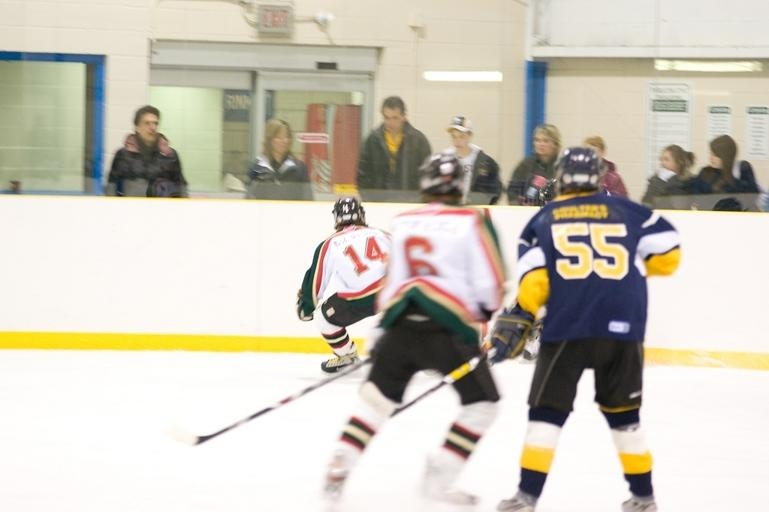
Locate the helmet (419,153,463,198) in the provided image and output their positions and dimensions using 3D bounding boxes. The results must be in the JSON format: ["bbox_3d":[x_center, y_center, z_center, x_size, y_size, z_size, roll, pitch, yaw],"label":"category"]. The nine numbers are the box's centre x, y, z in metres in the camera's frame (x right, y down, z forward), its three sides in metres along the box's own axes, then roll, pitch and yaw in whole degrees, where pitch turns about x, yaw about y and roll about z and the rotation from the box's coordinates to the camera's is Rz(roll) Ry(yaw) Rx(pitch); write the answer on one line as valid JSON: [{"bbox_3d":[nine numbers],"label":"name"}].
[{"bbox_3d":[0.315,-0.472,4.640,0.194,0.248,0.113,4,-12,1],"label":"helmet"}]

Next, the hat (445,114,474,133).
[{"bbox_3d":[0.682,-1.212,7.558,0.220,0.159,0.080,3,6,4],"label":"hat"}]

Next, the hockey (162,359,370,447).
[{"bbox_3d":[-0.849,1.056,5.884,1.168,0.139,0.132,-27,-37,12],"label":"hockey"}]

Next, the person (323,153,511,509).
[{"bbox_3d":[0.201,0.419,4.548,0.888,1.972,0.396,2,6,0],"label":"person"}]

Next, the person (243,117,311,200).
[{"bbox_3d":[-1.014,-0.932,7.597,0.708,1.103,0.337,-2,5,-13],"label":"person"}]

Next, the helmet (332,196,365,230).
[{"bbox_3d":[-0.281,-0.342,6.430,0.209,0.243,0.259,1,5,3],"label":"helmet"}]
